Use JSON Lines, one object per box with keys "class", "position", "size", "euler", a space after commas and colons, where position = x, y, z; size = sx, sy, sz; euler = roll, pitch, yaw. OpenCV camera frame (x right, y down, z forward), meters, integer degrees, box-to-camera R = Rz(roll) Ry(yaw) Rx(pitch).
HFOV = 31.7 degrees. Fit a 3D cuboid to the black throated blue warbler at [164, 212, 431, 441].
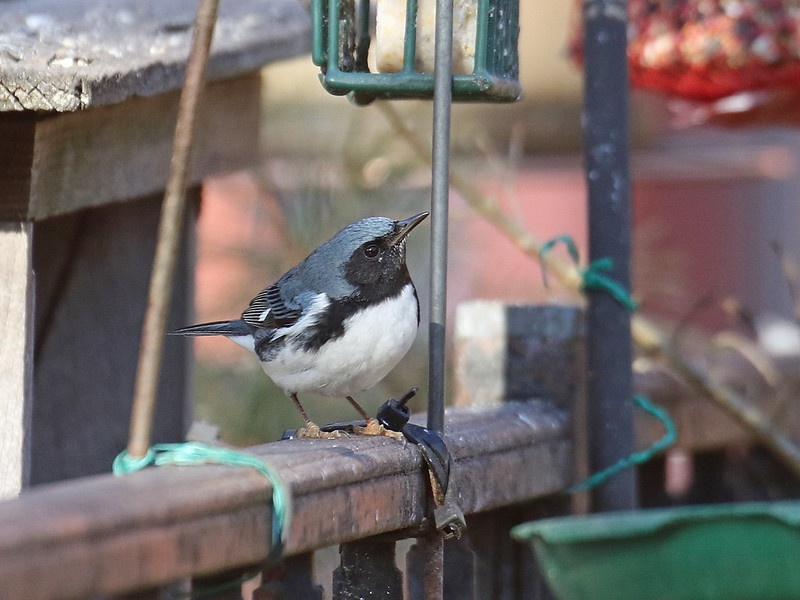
{"class": "black throated blue warbler", "position": [-0.315, 0.071, 4.741], "size": [0.990, 0.517, 0.725], "euler": [5, 97, 38]}
